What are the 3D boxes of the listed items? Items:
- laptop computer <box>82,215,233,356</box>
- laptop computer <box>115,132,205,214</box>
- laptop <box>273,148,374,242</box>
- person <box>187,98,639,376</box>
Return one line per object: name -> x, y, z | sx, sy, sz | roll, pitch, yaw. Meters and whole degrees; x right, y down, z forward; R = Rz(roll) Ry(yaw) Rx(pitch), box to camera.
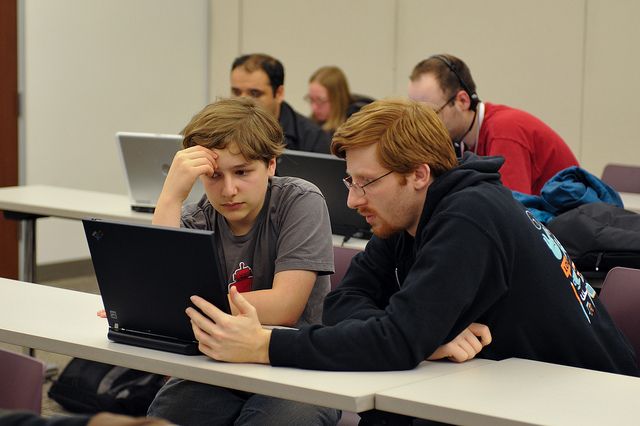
laptop computer -> -0.404, 0.214, 1.634 | 0.468, 0.357, 0.385 | 1, -3, 34
laptop computer -> -0.999, -0.234, 3.275 | 0.515, 0.478, 0.109 | 6, 14, 24
laptop -> 0.016, -0.072, 2.196 | 0.409, 0.287, 0.152 | 14, 19, 37
person -> 0.308, 0.081, 1.613 | 1.322, 0.814, 0.492 | -2, 13, -10
